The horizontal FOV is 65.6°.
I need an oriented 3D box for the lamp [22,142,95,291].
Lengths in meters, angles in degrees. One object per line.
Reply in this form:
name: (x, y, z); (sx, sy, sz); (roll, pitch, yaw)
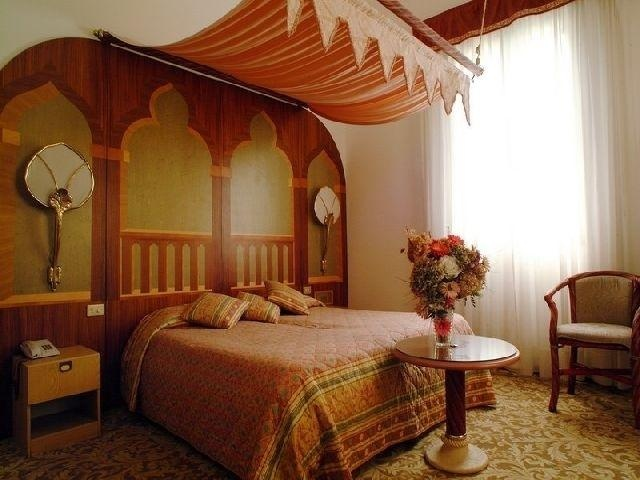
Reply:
lamp: (-2.504, -0.229, 4.795); (0.583, 1.385, 0.184); (-7, 10, -37)

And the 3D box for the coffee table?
coffee table: (1.129, 1.302, 4.181); (0.889, 0.934, 0.936); (-3, 5, -28)

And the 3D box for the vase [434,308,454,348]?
vase: (1.036, 0.736, 4.199); (0.163, 0.312, 0.170); (7, -18, -27)

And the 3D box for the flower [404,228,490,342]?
flower: (1.175, 0.360, 4.309); (0.524, 0.897, 0.670); (-2, 6, -45)

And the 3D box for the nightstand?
nightstand: (-2.372, 1.437, 4.403); (0.490, 1.086, 0.710); (-3, -4, 31)

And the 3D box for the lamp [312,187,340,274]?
lamp: (0.088, -0.146, 6.985); (0.147, 1.184, 0.489); (6, 11, 41)
